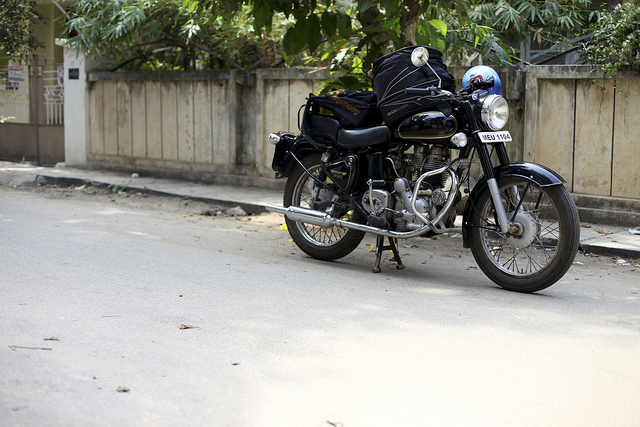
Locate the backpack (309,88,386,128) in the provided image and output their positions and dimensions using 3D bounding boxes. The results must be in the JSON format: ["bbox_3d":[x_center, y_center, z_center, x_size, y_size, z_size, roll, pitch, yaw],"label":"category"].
[{"bbox_3d":[0.334,-1.238,8.882,0.531,0.214,0.529,11,14,5],"label":"backpack"}]

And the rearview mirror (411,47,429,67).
[{"bbox_3d":[1.071,-1.678,8.191,0.184,0.186,0.077,-10,10,-1],"label":"rearview mirror"}]
